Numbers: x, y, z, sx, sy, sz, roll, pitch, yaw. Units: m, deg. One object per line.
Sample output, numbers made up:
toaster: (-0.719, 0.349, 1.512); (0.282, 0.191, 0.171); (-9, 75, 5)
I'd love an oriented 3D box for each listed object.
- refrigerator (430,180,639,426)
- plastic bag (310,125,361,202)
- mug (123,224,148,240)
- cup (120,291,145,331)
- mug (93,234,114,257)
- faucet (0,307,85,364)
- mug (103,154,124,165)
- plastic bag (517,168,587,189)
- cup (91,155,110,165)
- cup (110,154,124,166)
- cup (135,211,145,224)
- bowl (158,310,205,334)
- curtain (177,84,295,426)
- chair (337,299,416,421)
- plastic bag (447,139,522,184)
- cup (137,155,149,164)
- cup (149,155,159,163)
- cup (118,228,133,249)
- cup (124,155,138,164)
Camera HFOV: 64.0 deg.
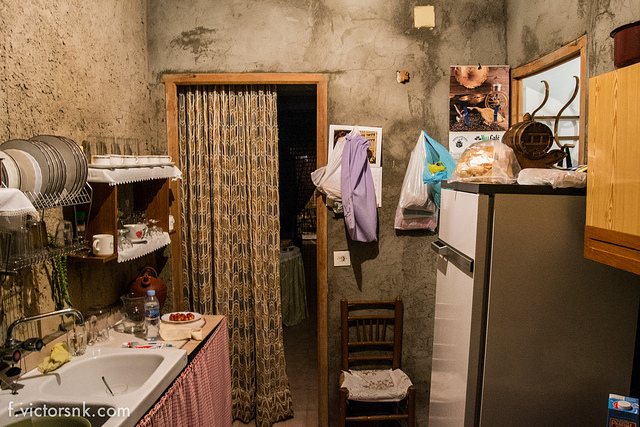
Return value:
refrigerator: (1.133, 0.608, 2.830); (1.068, 1.546, 0.444); (2, 6, 19)
plastic bag: (0.082, -0.325, 3.828); (0.277, 0.480, 0.146); (4, 7, 34)
mug: (-1.169, 0.121, 3.252); (0.115, 0.084, 0.090); (2, -4, -9)
cup: (-1.215, 0.651, 3.345); (0.166, 0.236, 0.178); (-5, -7, -1)
mug: (-1.255, 0.190, 2.965); (0.081, 0.102, 0.134); (3, 4, 5)
faucet: (-1.418, 0.622, 2.683); (0.415, 0.190, 0.185); (-3, 3, -43)
mug: (-1.252, -0.317, 3.094); (0.084, 0.063, 0.066); (2, 0, -16)
plastic bag: (1.203, -0.178, 2.664); (0.331, 0.104, 0.230); (3, 7, 29)
cup: (-1.295, -0.303, 3.001); (0.069, 0.054, 0.073); (1, 3, 0)
cup: (-1.222, -0.313, 3.086); (0.082, 0.065, 0.066); (2, 1, -17)
cup: (-1.216, 0.027, 3.480); (0.074, 0.099, 0.079); (-1, 3, 0)
bowl: (-0.895, 0.710, 3.323); (0.278, 0.069, 0.285); (0, 6, 0)
curtain: (-0.660, 0.349, 4.018); (0.830, 2.679, 0.325); (-2, 6, -13)
chair: (0.410, 1.055, 3.759); (0.526, 0.780, 0.497); (0, 6, 3)
plastic bag: (0.941, -0.315, 2.964); (0.269, 0.275, 0.417); (6, -2, -35)
cup: (-1.144, -0.342, 3.300); (0.065, 0.053, 0.069); (1, 3, 0)
cup: (-1.111, -0.358, 3.427); (0.062, 0.042, 0.088); (-2, 6, -20)
cup: (-1.216, 0.161, 3.190); (0.108, 0.127, 0.111); (-3, -4, 0)
cup: (-1.165, -0.328, 3.199); (0.058, 0.042, 0.129); (1, 6, 11)
